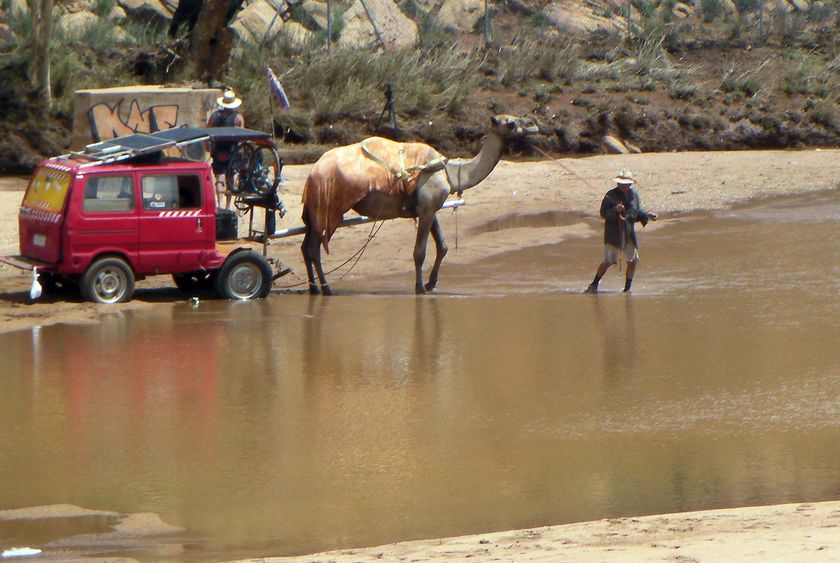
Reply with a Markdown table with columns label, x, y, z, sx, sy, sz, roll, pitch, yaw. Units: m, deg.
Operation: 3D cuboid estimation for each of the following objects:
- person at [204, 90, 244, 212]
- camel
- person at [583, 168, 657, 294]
| label | x | y | z | sx | sy | sz | roll | pitch | yaw |
| --- | --- | --- | --- | --- | --- | --- | --- | --- | --- |
| person | -3.602 | -2.363 | 22.078 | 0.926 | 2.141 | 0.666 | 11 | 9 | 26 |
| camel | -0.066 | -1.223 | 21.074 | 4.148 | 2.859 | 1.233 | -2 | 6 | -2 |
| person | 3.466 | -0.837 | 20.927 | 1.158 | 2.037 | 0.843 | -1 | 4 | -2 |
